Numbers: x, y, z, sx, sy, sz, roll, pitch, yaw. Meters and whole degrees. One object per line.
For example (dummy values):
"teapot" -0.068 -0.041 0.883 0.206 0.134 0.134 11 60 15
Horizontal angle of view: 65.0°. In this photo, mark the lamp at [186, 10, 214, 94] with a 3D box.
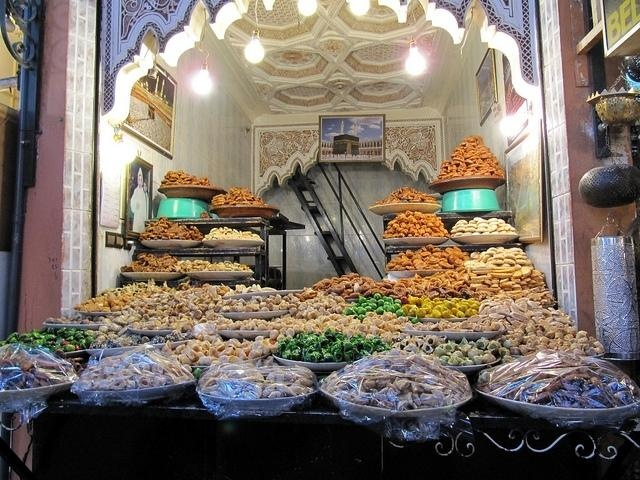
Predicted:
"lamp" -1.645 -2.783 7.000 0.161 0.166 0.687 24 -23 29

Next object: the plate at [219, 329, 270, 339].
"plate" -0.431 0.555 2.960 0.332 0.066 0.146 -9 -9 34

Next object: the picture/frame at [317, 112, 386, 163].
"picture/frame" 0.637 -1.861 9.803 0.991 0.593 0.977 0 -3 2

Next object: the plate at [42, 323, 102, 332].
"plate" -1.610 0.582 3.312 0.194 0.021 0.190 -2 -15 7

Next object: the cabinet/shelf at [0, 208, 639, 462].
"cabinet/shelf" 0.109 0.545 3.383 3.453 0.685 1.652 -5 -8 5

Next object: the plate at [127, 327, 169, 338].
"plate" -1.038 0.563 3.069 0.342 0.060 0.074 -8 -9 29
